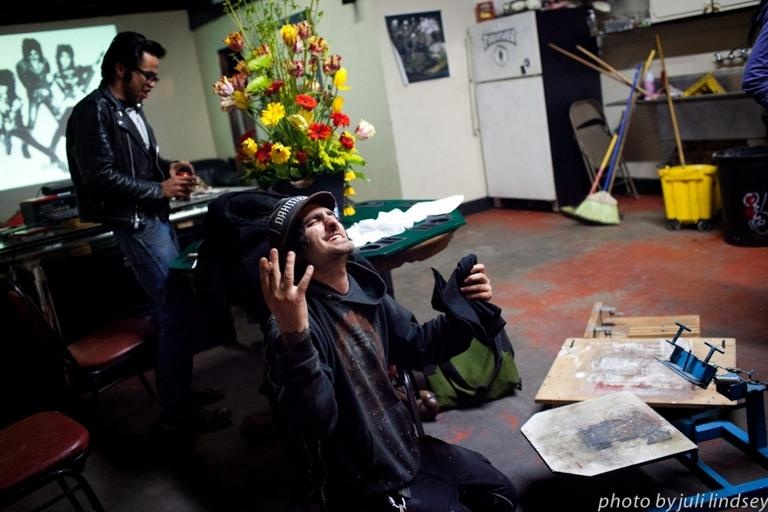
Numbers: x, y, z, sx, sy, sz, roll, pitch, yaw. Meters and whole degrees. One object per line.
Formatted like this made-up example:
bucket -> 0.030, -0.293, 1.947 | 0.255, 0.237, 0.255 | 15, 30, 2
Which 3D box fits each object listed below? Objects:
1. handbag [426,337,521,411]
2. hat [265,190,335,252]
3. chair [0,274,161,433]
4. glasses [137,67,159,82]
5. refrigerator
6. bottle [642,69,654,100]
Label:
handbag -> 0.559, 0.662, 3.433 | 0.613, 0.561, 0.384 | -10, 20, -4
hat -> -0.338, -0.153, 2.147 | 0.290, 0.206, 0.161 | -13, 17, -20
chair -> -2.174, 0.726, 3.716 | 0.730, 0.975, 0.599 | -25, 39, -32
glasses -> -1.480, -1.150, 3.320 | 0.087, 0.086, 0.206 | -8, 16, -4
refrigerator -> 1.948, -1.888, 6.839 | 1.554, 2.433, 0.802 | -3, 16, 14
bottle -> 3.148, -2.062, 6.219 | 0.148, 0.341, 0.748 | 1, 17, 26
